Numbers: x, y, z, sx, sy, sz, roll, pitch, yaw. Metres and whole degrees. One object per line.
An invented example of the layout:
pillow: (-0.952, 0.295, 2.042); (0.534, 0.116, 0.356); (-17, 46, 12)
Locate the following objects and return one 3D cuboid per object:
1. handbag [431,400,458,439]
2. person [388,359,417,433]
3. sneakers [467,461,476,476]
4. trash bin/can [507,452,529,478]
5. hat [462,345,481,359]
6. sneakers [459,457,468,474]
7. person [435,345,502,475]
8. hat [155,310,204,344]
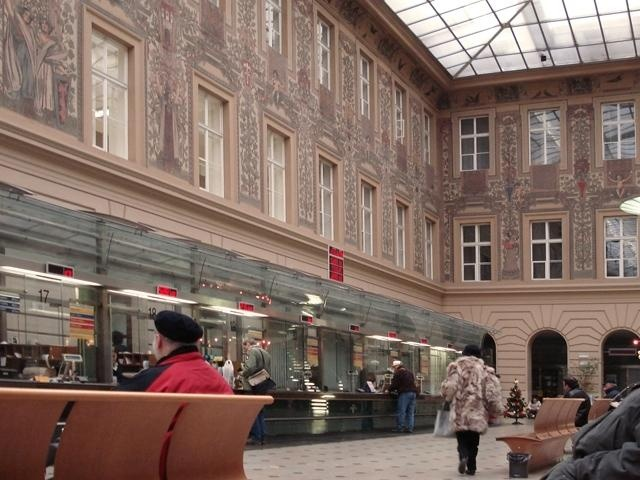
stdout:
handbag: (2.241, 3.055, 15.732); (0.367, 0.896, 0.223); (11, 5, -21)
person: (2.215, 4.079, 23.349); (0.679, 1.894, 1.503); (0, -13, 5)
sneakers: (2.455, 3.648, 14.212); (0.152, 0.203, 0.268); (-1, -13, 8)
trash bin/can: (3.129, 3.479, 13.840); (0.335, 0.409, 0.358); (-3, -7, 22)
hat: (2.560, 1.821, 14.713); (0.192, 0.233, 0.287); (9, -1, 10)
sneakers: (2.319, 3.598, 14.148); (0.112, 0.309, 0.131); (-1, 25, 2)
person: (2.480, 2.709, 14.349); (0.952, 2.093, 0.523); (-1, -12, 9)
hat: (-1.359, 0.806, 8.500); (0.504, 0.268, 0.670); (1, -5, -18)
